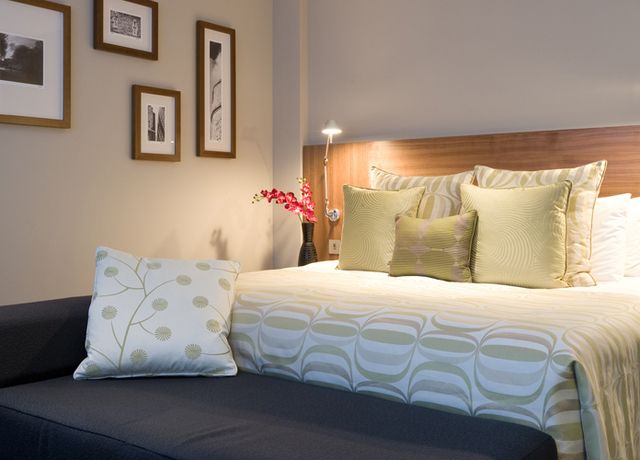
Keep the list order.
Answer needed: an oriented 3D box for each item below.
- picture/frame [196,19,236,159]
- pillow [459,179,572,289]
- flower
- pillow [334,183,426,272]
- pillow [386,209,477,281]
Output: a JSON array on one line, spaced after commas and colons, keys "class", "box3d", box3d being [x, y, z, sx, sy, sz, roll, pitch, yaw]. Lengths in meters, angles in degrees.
[{"class": "picture/frame", "box3d": [-0.871, -1.157, 3.742, 0.362, 1.102, 0.043, -3, 4, -45]}, {"class": "pillow", "box3d": [1.058, 0.044, 2.376, 0.591, 0.544, 0.215, -1, -10, 34]}, {"class": "flower", "box3d": [-0.277, -0.243, 3.876, 0.578, 0.246, 0.364, 11, 7, -4]}, {"class": "pillow", "box3d": [0.404, -0.014, 2.850, 0.602, 0.583, 0.220, -2, -20, 39]}, {"class": "pillow", "box3d": [0.645, 0.101, 2.539, 0.436, 0.340, 0.155, -1, -1, 34]}]
